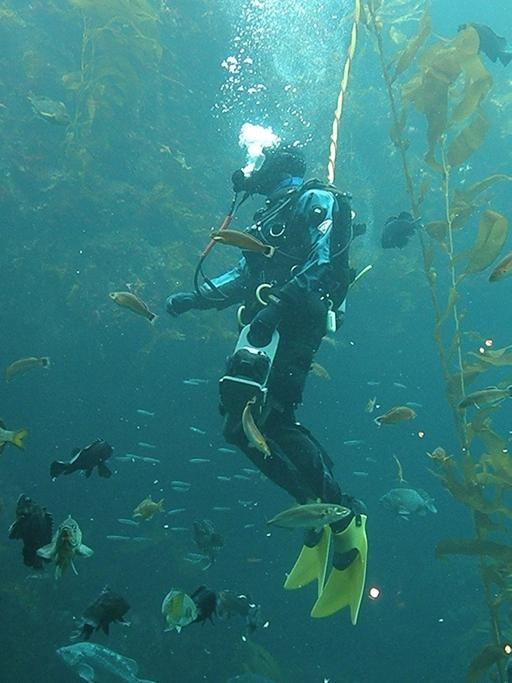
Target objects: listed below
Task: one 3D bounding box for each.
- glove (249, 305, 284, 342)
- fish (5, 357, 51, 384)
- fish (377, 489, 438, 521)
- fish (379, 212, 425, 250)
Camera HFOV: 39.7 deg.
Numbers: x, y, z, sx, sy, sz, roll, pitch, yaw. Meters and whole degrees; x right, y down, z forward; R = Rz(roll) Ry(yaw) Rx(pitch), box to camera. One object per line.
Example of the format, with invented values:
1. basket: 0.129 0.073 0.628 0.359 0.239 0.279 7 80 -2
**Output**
1. glove: 0.091 -0.183 7.407 0.303 0.416 0.128 39 4 39
2. fish: -2.945 0.345 8.869 0.869 0.269 0.145 -12 -2 37
3. fish: 2.000 2.132 9.350 0.537 0.317 0.510 2 28 -48
4. fish: 1.658 -1.305 8.322 0.430 0.467 0.319 36 21 30
